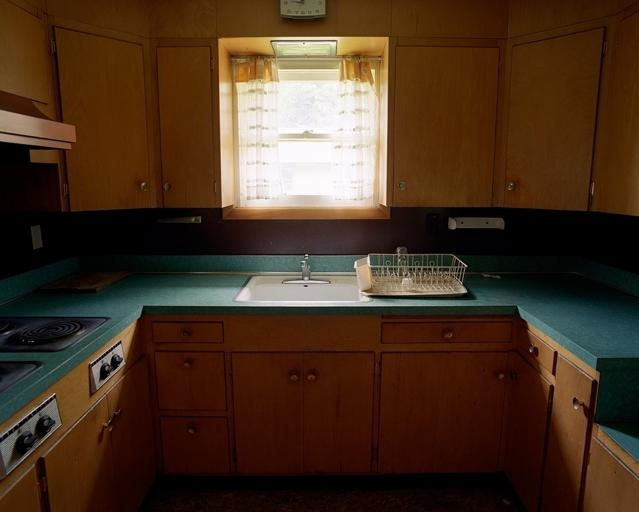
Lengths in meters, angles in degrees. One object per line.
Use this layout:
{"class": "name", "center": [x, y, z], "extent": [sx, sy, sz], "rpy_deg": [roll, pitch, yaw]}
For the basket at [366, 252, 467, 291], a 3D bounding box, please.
{"class": "basket", "center": [0.571, 0.077, 2.863], "extent": [0.597, 0.166, 0.599], "rpy_deg": [3, 9, 11]}
